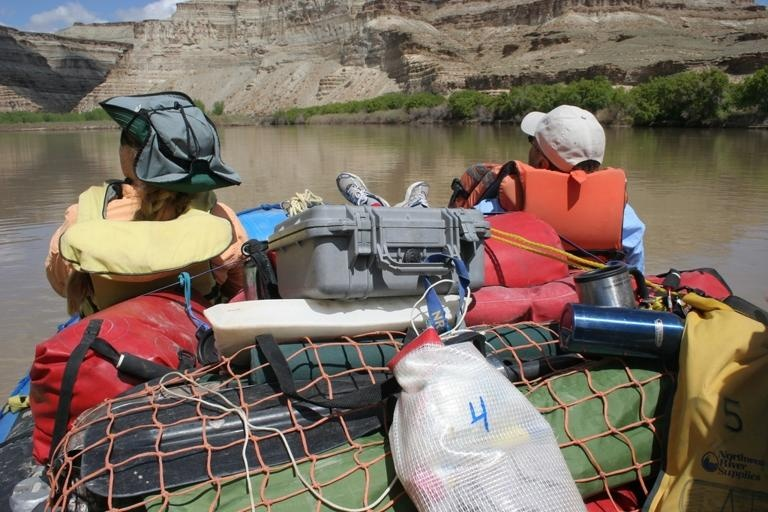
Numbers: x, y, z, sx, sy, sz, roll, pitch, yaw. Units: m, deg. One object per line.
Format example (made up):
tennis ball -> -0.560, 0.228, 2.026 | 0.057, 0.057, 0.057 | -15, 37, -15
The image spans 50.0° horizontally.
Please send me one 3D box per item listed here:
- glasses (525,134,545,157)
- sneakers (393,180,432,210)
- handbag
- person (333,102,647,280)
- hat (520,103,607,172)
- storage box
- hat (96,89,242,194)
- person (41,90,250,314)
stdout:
glasses -> 1.159, -0.856, 6.330 | 0.138, 0.053, 0.173 | 16, 39, -16
sneakers -> 0.218, -0.416, 5.679 | 0.143, 0.184, 0.434 | -1, 0, 18
handbag -> -1.687, 0.688, 5.066 | 1.139, 0.759, 0.525 | -23, -15, -35
person -> 1.080, -0.465, 6.733 | 1.364, 0.881, 1.906 | 1, 6, -24
hat -> 1.362, -0.866, 6.060 | 0.492, 0.479, 0.235 | -1, 13, 13
storage box -> -0.034, -0.023, 4.770 | 0.827, 0.380, 0.669 | 1, -4, -21
hat -> -1.376, -0.723, 5.345 | 0.803, 0.678, 0.387 | -8, 13, -18
person -> -1.500, -0.132, 5.538 | 1.354, 1.831, 1.055 | 0, 19, -32
